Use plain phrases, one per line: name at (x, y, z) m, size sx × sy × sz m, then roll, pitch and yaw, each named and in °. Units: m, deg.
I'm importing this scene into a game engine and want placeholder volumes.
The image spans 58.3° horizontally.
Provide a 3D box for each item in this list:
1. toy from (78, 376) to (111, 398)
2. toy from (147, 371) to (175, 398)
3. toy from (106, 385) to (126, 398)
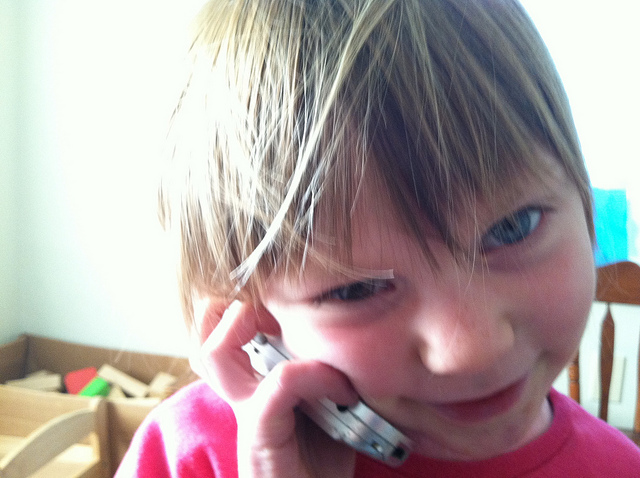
toy at (-0.317, 0.210, 0.820) m, size 0.036 × 0.037 × 0.012 m, roll -40°, pitch 34°, yaw 20°
toy at (-0.217, 0.196, 0.783) m, size 0.048 × 0.043 × 0.021 m, roll 1°, pitch 10°, yaw 43°
toy at (-0.287, 0.213, 0.811) m, size 0.011 × 0.017 × 0.013 m, roll 6°, pitch 34°, yaw 10°
